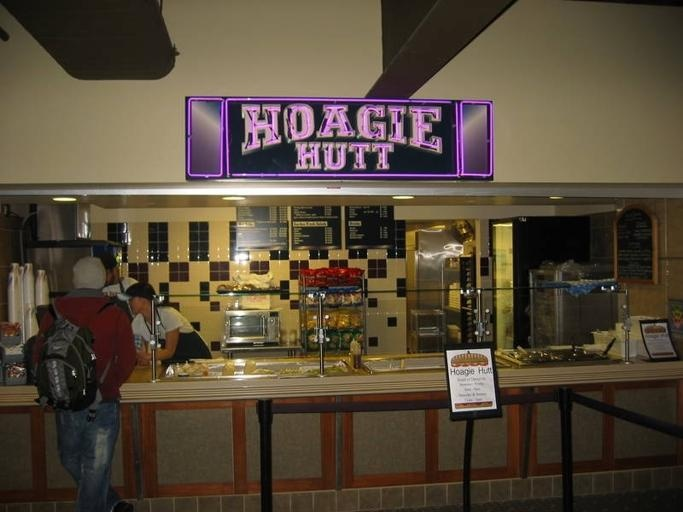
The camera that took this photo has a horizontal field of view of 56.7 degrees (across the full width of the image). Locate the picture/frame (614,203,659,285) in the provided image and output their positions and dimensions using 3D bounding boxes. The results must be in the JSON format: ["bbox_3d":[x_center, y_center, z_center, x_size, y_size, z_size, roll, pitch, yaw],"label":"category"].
[{"bbox_3d":[2.693,-0.110,5.819,0.109,0.743,0.447,-2,0,-20],"label":"picture/frame"}]

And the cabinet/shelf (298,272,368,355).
[{"bbox_3d":[-0.110,0.431,6.466,0.619,1.030,0.623,3,31,1],"label":"cabinet/shelf"}]

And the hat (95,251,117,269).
[{"bbox_3d":[-2.064,0.031,5.544,0.109,0.136,0.142,4,-28,-38],"label":"hat"}]

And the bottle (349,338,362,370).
[{"bbox_3d":[0.119,0.831,5.332,0.086,0.273,0.191,0,-3,-6],"label":"bottle"}]

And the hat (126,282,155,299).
[{"bbox_3d":[-1.575,0.272,4.972,0.199,0.107,0.144,9,-5,-4],"label":"hat"}]

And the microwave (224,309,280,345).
[{"bbox_3d":[-0.988,0.646,6.852,0.569,0.378,0.368,1,-4,-14],"label":"microwave"}]
